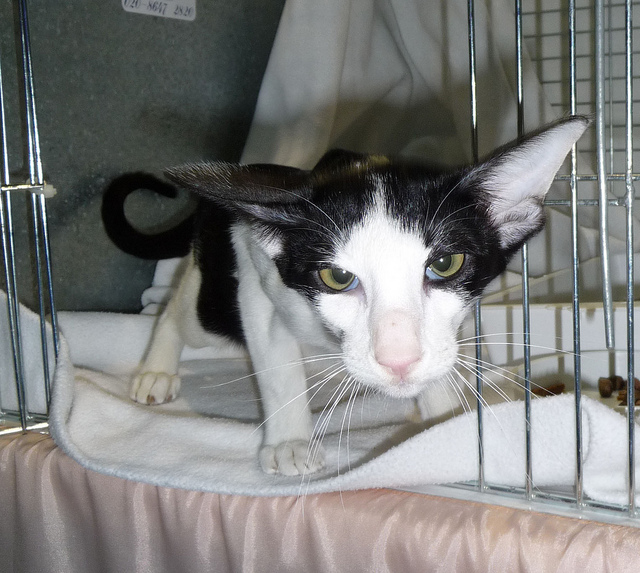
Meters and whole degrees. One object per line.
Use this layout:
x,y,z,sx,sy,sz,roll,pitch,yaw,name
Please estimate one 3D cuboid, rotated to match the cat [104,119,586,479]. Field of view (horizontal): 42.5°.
0.013,-0.082,1.546,0.539,0.470,0.810,-7,15,-25,cat
